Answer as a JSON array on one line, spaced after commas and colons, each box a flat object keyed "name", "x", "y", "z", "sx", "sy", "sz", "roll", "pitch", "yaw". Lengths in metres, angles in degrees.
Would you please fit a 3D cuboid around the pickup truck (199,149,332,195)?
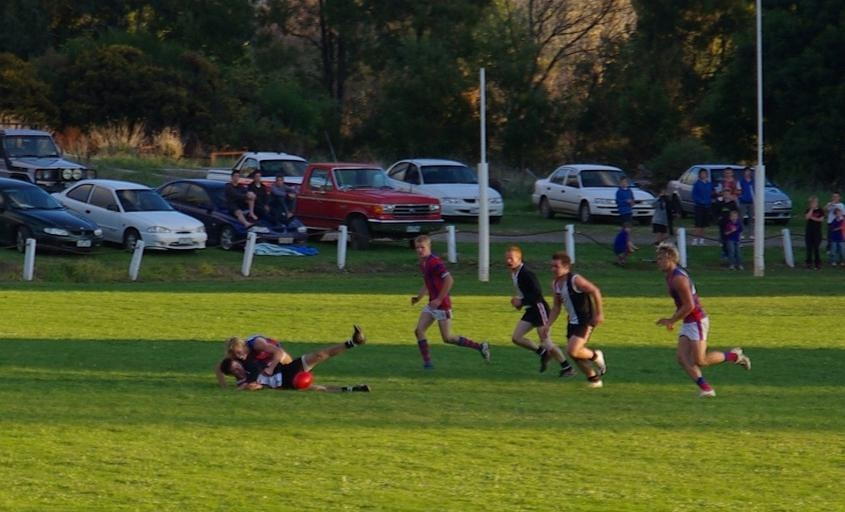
[{"name": "pickup truck", "x": -8.296, "y": -4.372, "z": 86.624, "sx": 9.496, "sy": 2.142, "sz": 3.745, "roll": 0, "pitch": -2, "yaw": 34}]

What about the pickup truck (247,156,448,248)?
[{"name": "pickup truck", "x": -3.639, "y": -2.778, "z": 84.357, "sx": 4.479, "sy": 2.684, "sz": 8.496, "roll": -8, "pitch": 15, "yaw": -43}]

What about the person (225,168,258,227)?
[{"name": "person", "x": -8.330, "y": -2.627, "z": 81.419, "sx": 1.409, "sy": 2.612, "sz": 0.834, "roll": 2, "pitch": -2, "yaw": -9}]
